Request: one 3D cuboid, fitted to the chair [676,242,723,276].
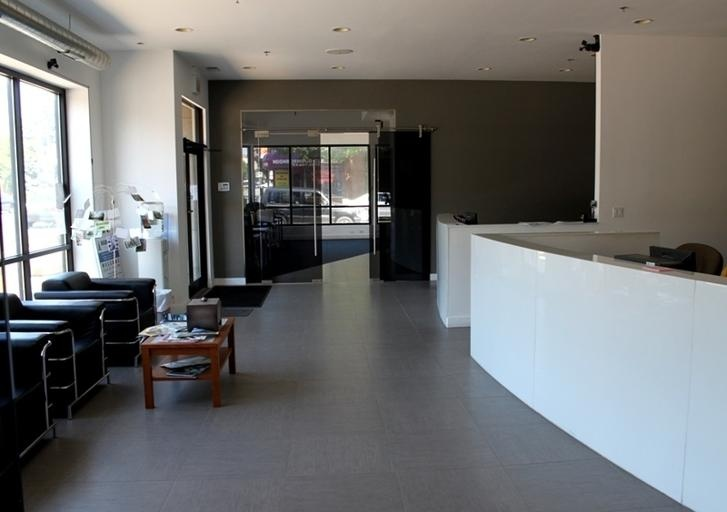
[{"bbox_3d":[3.599,0.042,5.747,0.425,0.494,0.364,-1,0,-44],"label":"chair"}]

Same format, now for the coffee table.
[{"bbox_3d":[-1.828,1.090,5.563,0.836,0.683,0.881,-1,15,-2],"label":"coffee table"}]

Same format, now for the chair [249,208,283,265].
[{"bbox_3d":[-1.923,-0.404,10.876,0.715,1.106,1.079,0,6,-6],"label":"chair"}]

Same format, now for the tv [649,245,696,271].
[{"bbox_3d":[2.727,0.024,4.792,0.328,0.213,0.339,0,1,-11],"label":"tv"}]

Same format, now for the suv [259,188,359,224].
[{"bbox_3d":[-1.088,-0.896,10.697,2.013,0.883,0.850,1,2,-8],"label":"suv"}]

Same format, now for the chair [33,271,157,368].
[{"bbox_3d":[-3.209,0.752,6.609,1.049,1.020,1.061,-2,5,-10],"label":"chair"}]
